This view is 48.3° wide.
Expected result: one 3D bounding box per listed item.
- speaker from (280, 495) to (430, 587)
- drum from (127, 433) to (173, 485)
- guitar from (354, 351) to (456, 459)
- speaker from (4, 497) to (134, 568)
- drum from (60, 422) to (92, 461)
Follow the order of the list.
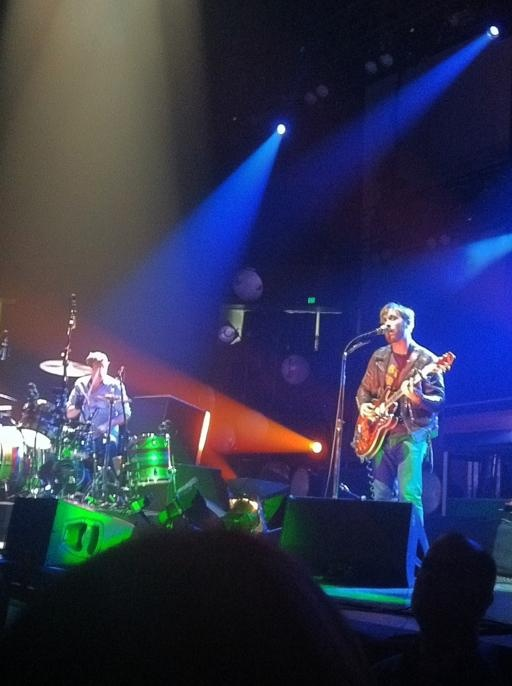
[{"bbox_3d":[0.408,1.063,3.120,0.739,0.470,0.532,6,-3,-12],"label":"speaker"},{"bbox_3d":[-0.783,0.856,4.233,0.351,0.362,0.366,-11,-14,40],"label":"drum"},{"bbox_3d":[1.151,0.497,4.352,0.217,0.502,1.271,20,-45,-18],"label":"guitar"},{"bbox_3d":[-0.824,0.838,2.560,0.525,0.275,0.430,12,-12,-21],"label":"speaker"},{"bbox_3d":[-1.542,0.831,4.865,0.267,0.261,0.472,3,2,-13],"label":"drum"}]
